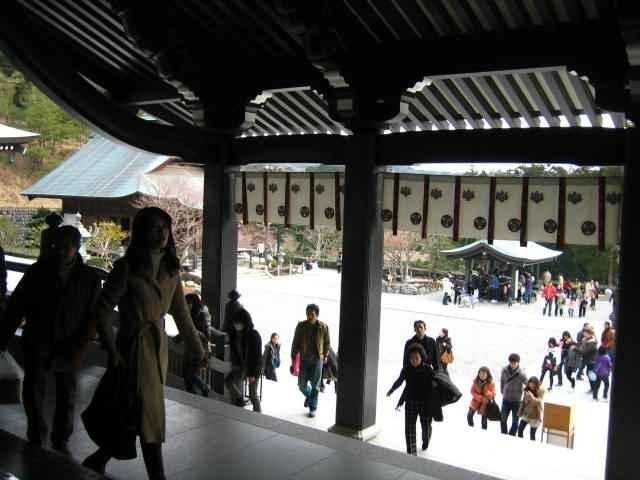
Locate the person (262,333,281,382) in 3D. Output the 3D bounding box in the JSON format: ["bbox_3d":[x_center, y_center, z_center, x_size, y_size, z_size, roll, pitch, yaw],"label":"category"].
[{"bbox_3d":[-0.702,1.672,7.786,0.228,0.548,0.780,4,-1,-5],"label":"person"}]

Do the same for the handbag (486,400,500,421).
[{"bbox_3d":[2.146,2.117,6.693,0.152,0.288,0.286,3,-2,30],"label":"handbag"}]

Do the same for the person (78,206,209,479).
[{"bbox_3d":[-1.148,0.691,3.551,0.670,1.590,0.388,5,-2,-25],"label":"person"}]

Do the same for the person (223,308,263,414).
[{"bbox_3d":[-0.914,1.463,6.566,0.419,0.985,0.458,4,-2,-5],"label":"person"}]

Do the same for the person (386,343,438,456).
[{"bbox_3d":[1.027,1.759,6.016,0.445,1.241,0.472,4,-2,12],"label":"person"}]

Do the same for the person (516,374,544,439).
[{"bbox_3d":[2.647,2.107,6.808,0.271,0.840,0.636,3,-2,21],"label":"person"}]
